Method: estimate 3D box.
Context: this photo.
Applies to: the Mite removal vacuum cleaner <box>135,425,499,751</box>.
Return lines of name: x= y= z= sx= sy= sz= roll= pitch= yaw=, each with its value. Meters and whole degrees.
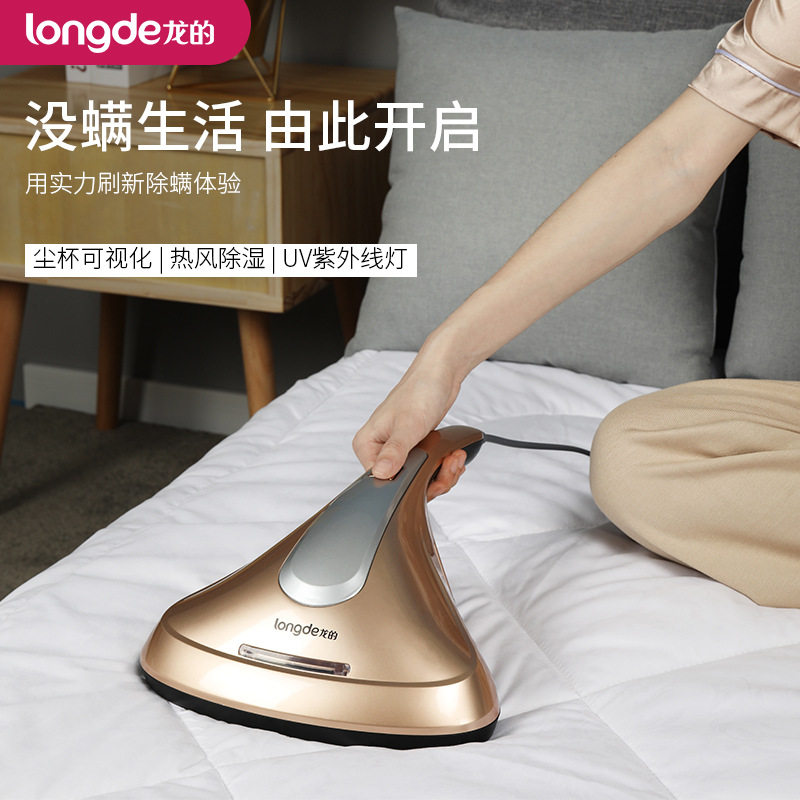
Mite removal vacuum cleaner: x=-0.016 y=0.102 z=0.515 sx=0.139 sy=0.058 sz=0.199 roll=7 pitch=17 yaw=17
